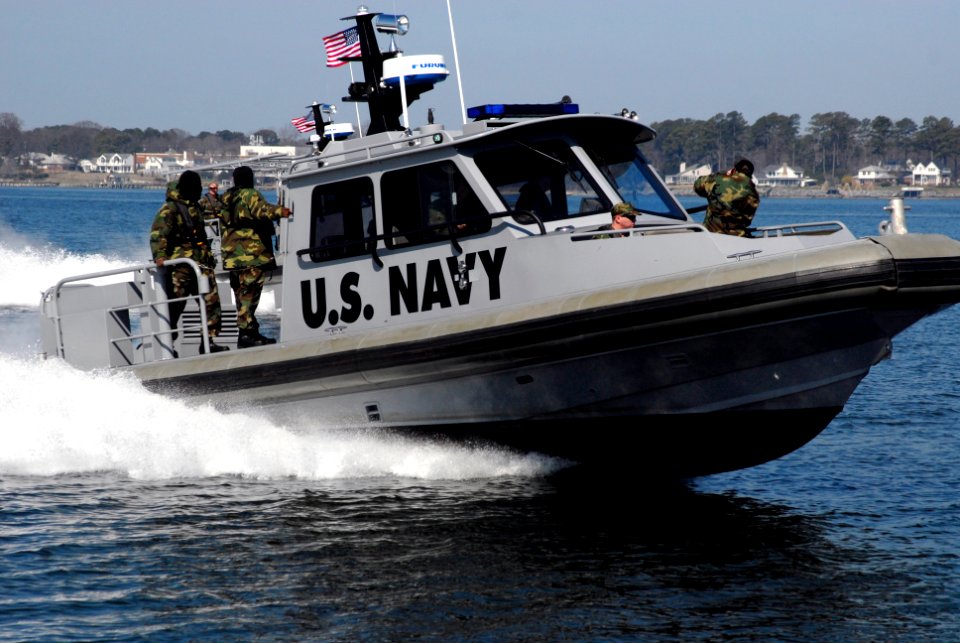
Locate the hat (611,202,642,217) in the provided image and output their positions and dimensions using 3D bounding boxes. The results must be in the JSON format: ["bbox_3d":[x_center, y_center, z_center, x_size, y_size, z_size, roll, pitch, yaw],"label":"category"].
[{"bbox_3d":[1.312,-1.003,13.393,0.214,0.059,0.132,3,1,-11],"label":"hat"}]
